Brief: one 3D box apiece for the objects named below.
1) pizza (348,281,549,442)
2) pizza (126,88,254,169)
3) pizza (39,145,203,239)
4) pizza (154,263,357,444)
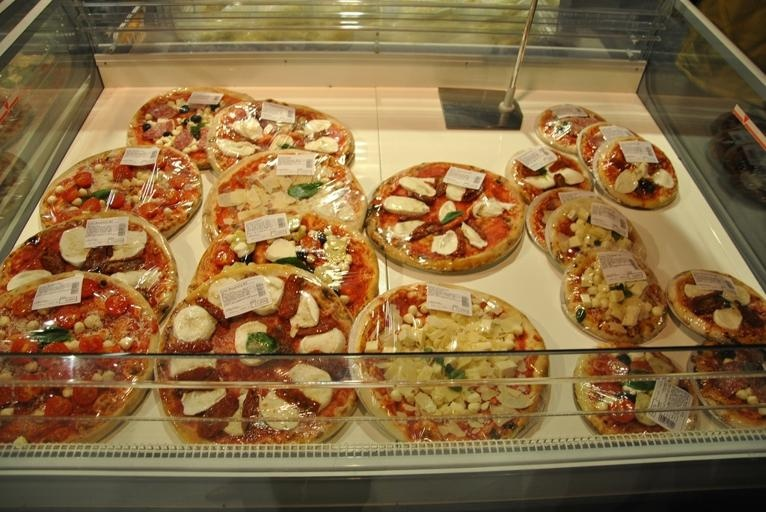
[{"bbox_3d":[0.269,0.370,2.093,0.837,0.395,0.701,0,65,0],"label":"pizza"},{"bbox_3d":[-1.130,-0.707,3.112,0.585,0.063,0.556,7,50,-3],"label":"pizza"},{"bbox_3d":[-1.335,-0.333,2.754,0.602,0.065,0.543,-19,59,-20],"label":"pizza"},{"bbox_3d":[-0.525,0.343,2.064,0.792,0.391,0.783,-5,65,-2],"label":"pizza"}]
